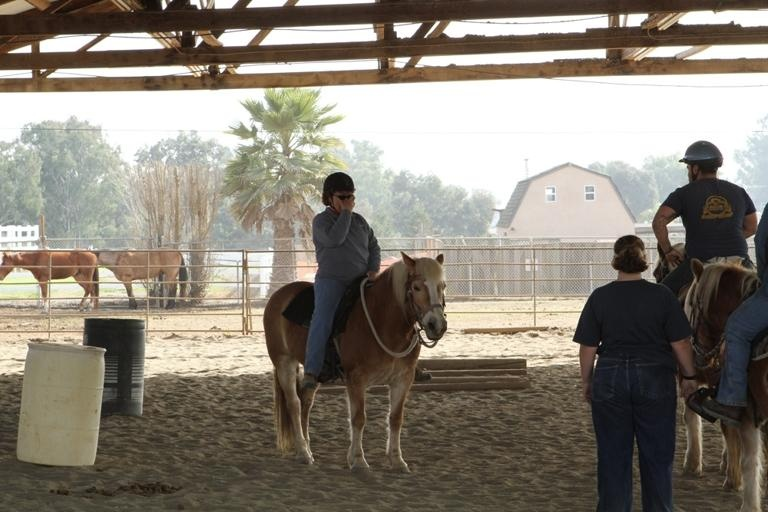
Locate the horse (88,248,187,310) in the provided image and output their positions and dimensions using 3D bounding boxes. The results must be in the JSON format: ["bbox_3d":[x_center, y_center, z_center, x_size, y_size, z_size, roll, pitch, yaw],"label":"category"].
[{"bbox_3d":[-6.789,0.705,34.094,2.788,1.644,0.653,-1,-14,-7],"label":"horse"}]

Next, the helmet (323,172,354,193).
[{"bbox_3d":[-0.791,-1.111,20.388,0.333,0.231,0.423,-2,4,-30],"label":"helmet"}]

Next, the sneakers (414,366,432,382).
[{"bbox_3d":[0.650,1.991,20.805,0.266,0.122,0.351,1,0,3],"label":"sneakers"}]

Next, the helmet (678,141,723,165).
[{"bbox_3d":[5.183,-1.543,20.280,0.554,0.284,0.409,13,5,26],"label":"helmet"}]
